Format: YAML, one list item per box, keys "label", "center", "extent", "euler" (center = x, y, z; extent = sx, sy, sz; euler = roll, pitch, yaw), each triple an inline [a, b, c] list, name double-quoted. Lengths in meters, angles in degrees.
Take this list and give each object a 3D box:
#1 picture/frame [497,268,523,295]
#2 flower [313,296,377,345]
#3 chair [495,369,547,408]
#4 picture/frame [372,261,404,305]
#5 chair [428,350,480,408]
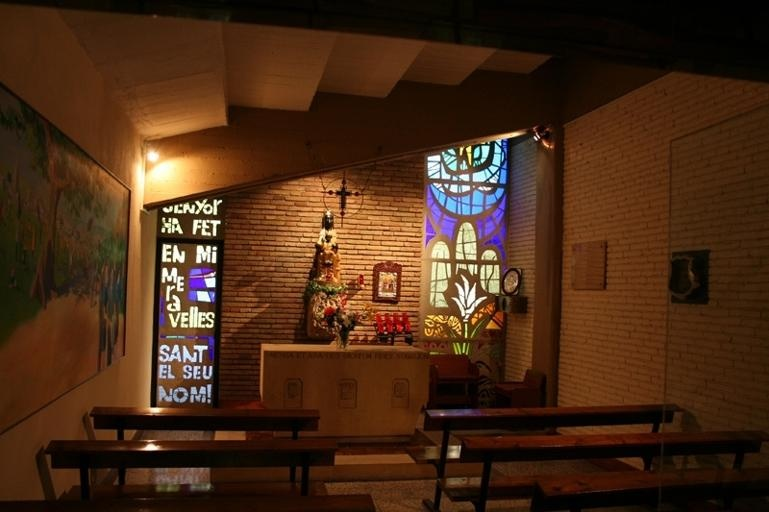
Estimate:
- label: "picture/frame"
  center: [1.974, 0.421, 9.820]
  extent: [0.058, 0.390, 0.404]
  euler: [15, 2, -22]
- label: "flower"
  center: [-0.479, 0.835, 7.655]
  extent: [0.585, 0.443, 0.528]
  euler: [1, 0, 7]
- label: "chair"
  center: [1.807, 1.825, 8.392]
  extent: [0.550, 0.544, 0.641]
  euler: [2, -2, -2]
- label: "picture/frame"
  center: [0.026, 0.445, 9.802]
  extent: [0.717, 0.944, 0.073]
  euler: [2, -7, -17]
- label: "chair"
  center: [1.030, 1.914, 9.522]
  extent: [0.682, 0.817, 0.594]
  euler: [2, -5, -9]
